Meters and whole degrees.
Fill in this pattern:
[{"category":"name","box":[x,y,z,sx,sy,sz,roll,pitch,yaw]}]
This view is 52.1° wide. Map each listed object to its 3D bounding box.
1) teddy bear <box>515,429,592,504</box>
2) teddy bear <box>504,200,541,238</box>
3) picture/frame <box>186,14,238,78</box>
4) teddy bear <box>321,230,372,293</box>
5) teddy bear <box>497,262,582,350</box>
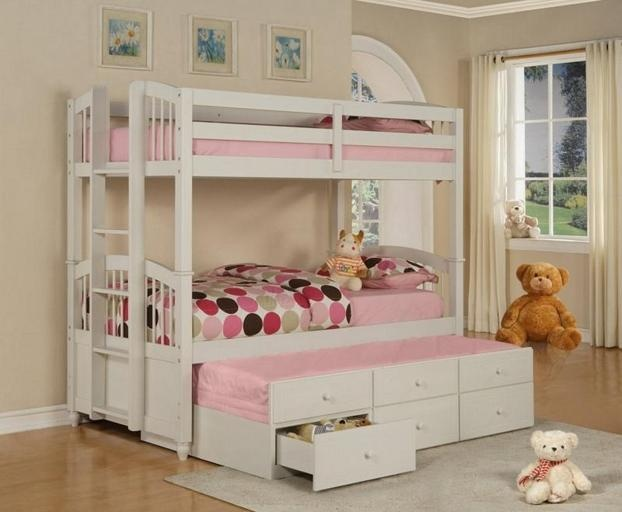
[{"category":"teddy bear","box":[0.985,0.858,2.628,0.342,0.265,0.146,-1,4,-16]},{"category":"teddy bear","box":[1.982,-0.367,6.210,0.373,0.343,0.279,0,11,5]},{"category":"picture/frame","box":[-0.648,-1.399,4.203,0.533,0.440,0.039,-4,7,-35]},{"category":"teddy bear","box":[0.248,0.021,4.290,0.351,0.388,0.294,9,14,15]},{"category":"teddy bear","box":[2.043,0.366,5.877,0.952,0.844,0.796,2,2,26]}]
